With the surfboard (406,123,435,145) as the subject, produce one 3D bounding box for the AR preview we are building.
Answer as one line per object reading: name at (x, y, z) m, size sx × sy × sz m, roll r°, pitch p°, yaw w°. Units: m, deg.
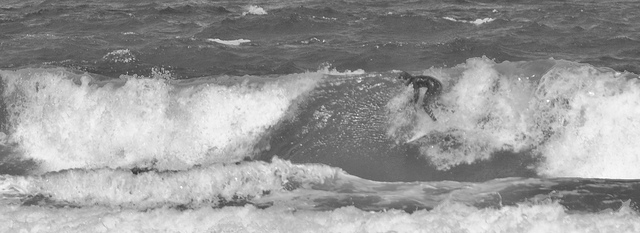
surfboard at (6.634, 1.186, 78.641) m, size 2.832 × 0.319 × 0.455 m, roll -23°, pitch 5°, yaw 1°
